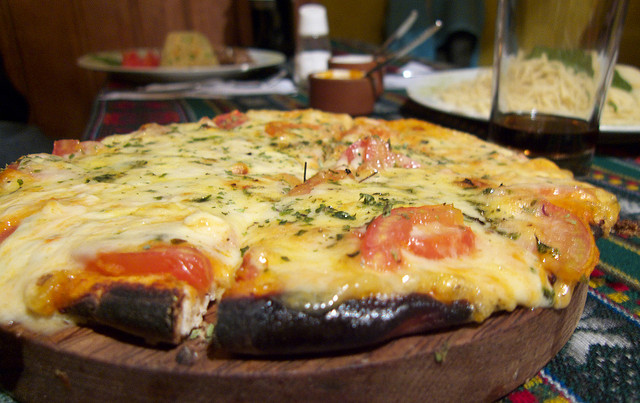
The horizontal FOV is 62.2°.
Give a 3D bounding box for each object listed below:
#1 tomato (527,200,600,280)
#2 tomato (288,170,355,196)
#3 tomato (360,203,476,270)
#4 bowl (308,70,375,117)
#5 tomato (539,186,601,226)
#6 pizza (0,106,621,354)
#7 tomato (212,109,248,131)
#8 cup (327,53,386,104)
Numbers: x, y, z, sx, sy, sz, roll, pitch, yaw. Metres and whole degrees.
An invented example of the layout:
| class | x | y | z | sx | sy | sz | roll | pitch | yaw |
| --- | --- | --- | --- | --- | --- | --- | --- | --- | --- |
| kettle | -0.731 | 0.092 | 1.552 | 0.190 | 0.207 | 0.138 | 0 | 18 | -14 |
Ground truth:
| class | x | y | z | sx | sy | sz | roll | pitch | yaw |
| --- | --- | --- | --- | --- | --- | --- | --- | --- | --- |
| tomato | 0.745 | 0.131 | 1.652 | 0.217 | 0.155 | 0.212 | 22 | 39 | 30 |
| tomato | -0.002 | -0.076 | 1.888 | 0.182 | 0.036 | 0.105 | -22 | 21 | -38 |
| tomato | 0.291 | 0.093 | 1.603 | 0.370 | 0.169 | 0.201 | 0 | 16 | -2 |
| bowl | 0.116 | -0.583 | 2.946 | 0.304 | 0.176 | 0.290 | 2 | 23 | -1 |
| tomato | 0.889 | -0.001 | 1.830 | 0.162 | 0.046 | 0.160 | 13 | 24 | 39 |
| pizza | -0.099 | 0.012 | 1.894 | 2.024 | 0.289 | 1.147 | 0 | 32 | -2 |
| tomato | -0.430 | -0.412 | 2.639 | 0.128 | 0.039 | 0.132 | 24 | 43 | 37 |
| cup | 0.221 | -0.716 | 3.315 | 0.404 | 0.295 | 0.389 | 0 | 22 | 0 |
